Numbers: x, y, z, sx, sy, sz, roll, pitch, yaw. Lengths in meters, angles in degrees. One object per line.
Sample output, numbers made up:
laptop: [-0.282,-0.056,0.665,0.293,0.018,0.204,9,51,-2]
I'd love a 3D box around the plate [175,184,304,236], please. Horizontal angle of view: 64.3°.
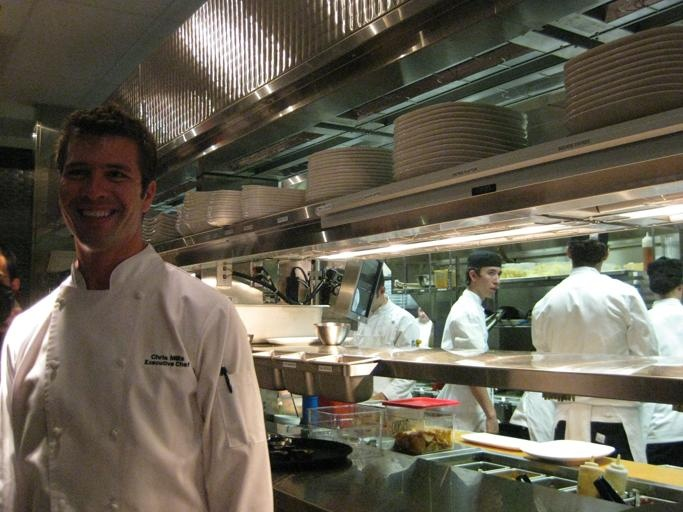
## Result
plate: [-0.583,-0.236,2.995,0.566,0.115,0.360,0,-4,-24]

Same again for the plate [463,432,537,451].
plate: [0.708,0.867,2.552,0.147,0.018,0.210,2,-7,-20]

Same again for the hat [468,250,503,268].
hat: [1.005,0.018,3.865,0.191,0.071,0.161,1,0,-17]

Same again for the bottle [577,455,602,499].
bottle: [0.896,0.786,1.934,0.102,0.129,0.098,8,-17,2]

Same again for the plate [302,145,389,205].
plate: [0.011,-0.344,2.354,0.334,0.111,0.279,-3,-1,14]

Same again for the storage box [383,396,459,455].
storage box: [0.354,0.754,2.488,0.310,0.158,0.273,1,-3,-27]

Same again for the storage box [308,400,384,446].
storage box: [0.025,0.722,2.408,0.282,0.119,0.257,3,-5,-32]

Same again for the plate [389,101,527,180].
plate: [0.395,-0.375,1.907,0.414,0.117,0.343,-2,-4,-17]

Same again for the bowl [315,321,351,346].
bowl: [-0.059,0.465,3.297,0.206,0.078,0.165,1,-12,-5]

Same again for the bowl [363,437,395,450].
bowl: [0.163,0.834,2.424,0.134,0.034,0.108,1,-11,-7]
